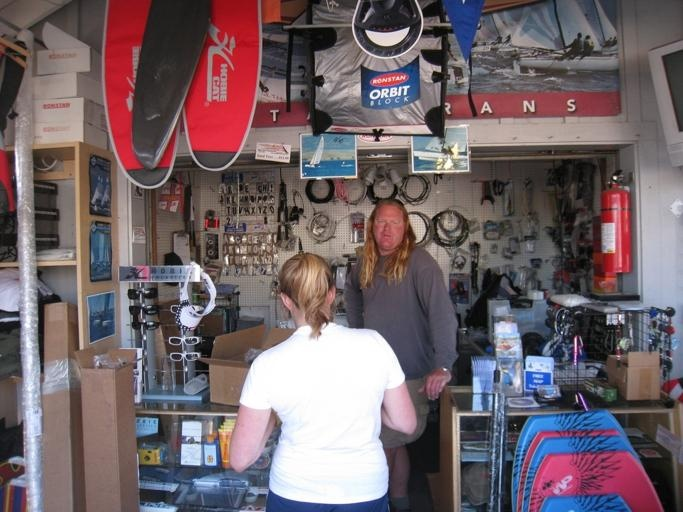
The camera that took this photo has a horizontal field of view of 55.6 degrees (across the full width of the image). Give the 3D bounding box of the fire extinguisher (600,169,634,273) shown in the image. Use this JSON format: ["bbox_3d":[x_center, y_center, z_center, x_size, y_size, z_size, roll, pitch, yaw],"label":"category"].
[{"bbox_3d":[2.257,-0.264,5.327,0.254,0.801,0.227,-1,-4,11],"label":"fire extinguisher"}]

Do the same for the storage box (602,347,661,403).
[{"bbox_3d":[2.100,0.820,4.670,0.266,0.353,0.475,0,-2,11],"label":"storage box"}]

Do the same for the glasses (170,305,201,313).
[{"bbox_3d":[-1.172,0.398,4.923,0.150,0.057,0.117,-2,-1,41],"label":"glasses"}]

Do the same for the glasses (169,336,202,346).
[{"bbox_3d":[-1.222,0.662,5.081,0.149,0.051,0.160,1,-2,6],"label":"glasses"}]

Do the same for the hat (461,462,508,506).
[{"bbox_3d":[0.977,1.567,4.432,0.258,0.405,0.134,4,2,13],"label":"hat"}]

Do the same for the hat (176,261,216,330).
[{"bbox_3d":[-1.121,0.308,5.034,0.293,0.542,0.750,0,-4,-12],"label":"hat"}]

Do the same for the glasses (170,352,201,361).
[{"bbox_3d":[-1.184,0.776,5.038,0.158,0.055,0.165,0,-7,1],"label":"glasses"}]

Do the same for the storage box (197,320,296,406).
[{"bbox_3d":[-0.701,0.776,4.979,0.581,0.445,0.565,1,3,14],"label":"storage box"}]

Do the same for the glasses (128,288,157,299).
[{"bbox_3d":[-1.585,0.286,5.190,0.212,0.101,0.503,0,-4,-15],"label":"glasses"}]
